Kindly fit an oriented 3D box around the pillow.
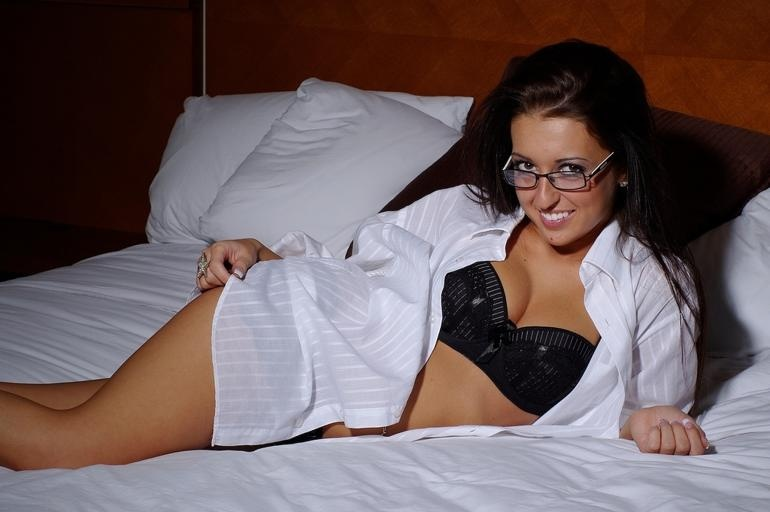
[{"bbox_3d":[0.296,-0.168,2.876,1.935,1.278,0.641,9,-14,8],"label":"pillow"}]
